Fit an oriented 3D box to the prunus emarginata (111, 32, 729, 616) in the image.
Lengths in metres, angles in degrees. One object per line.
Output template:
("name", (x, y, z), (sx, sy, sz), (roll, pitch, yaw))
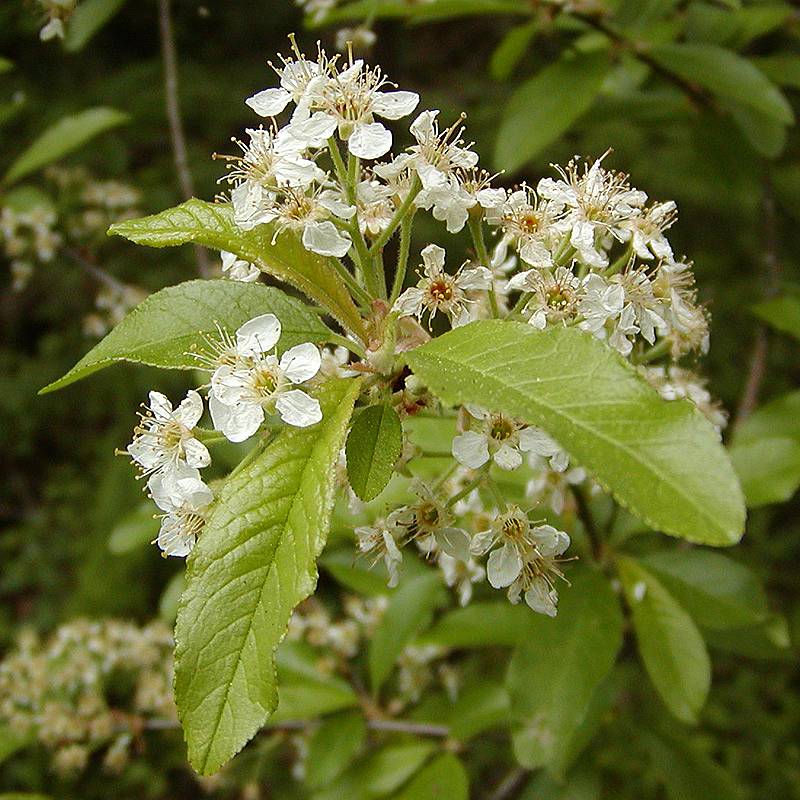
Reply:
("prunus emarginata", (0.152, -0.071, 2.257), (1.307, 0.772, 1.193), (-8, 59, 16))
